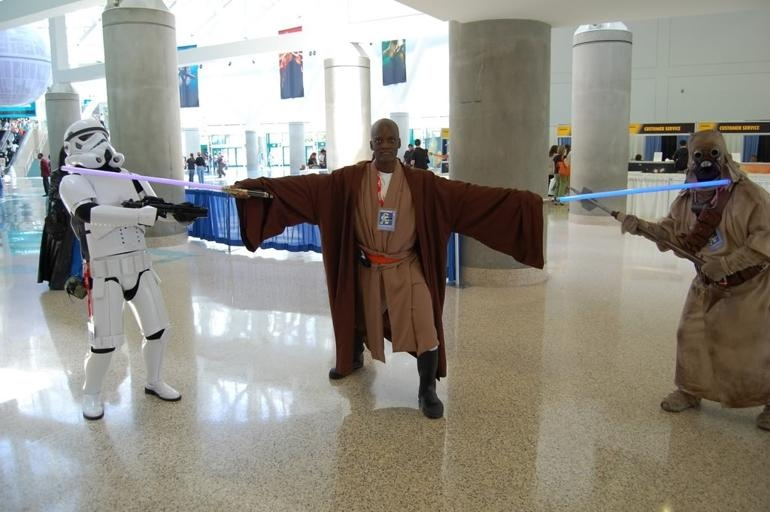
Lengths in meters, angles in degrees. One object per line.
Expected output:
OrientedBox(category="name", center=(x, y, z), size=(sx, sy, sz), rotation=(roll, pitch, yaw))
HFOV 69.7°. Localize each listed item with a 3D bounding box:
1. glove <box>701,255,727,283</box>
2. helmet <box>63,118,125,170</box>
OrientedBox(category="glove", center=(2.294, 0.082, 3.879), size=(0.129, 0.184, 0.064), rotation=(-24, -4, -26))
OrientedBox(category="helmet", center=(-2.127, -0.836, 4.167), size=(0.410, 0.377, 0.360), rotation=(2, 8, 17))
